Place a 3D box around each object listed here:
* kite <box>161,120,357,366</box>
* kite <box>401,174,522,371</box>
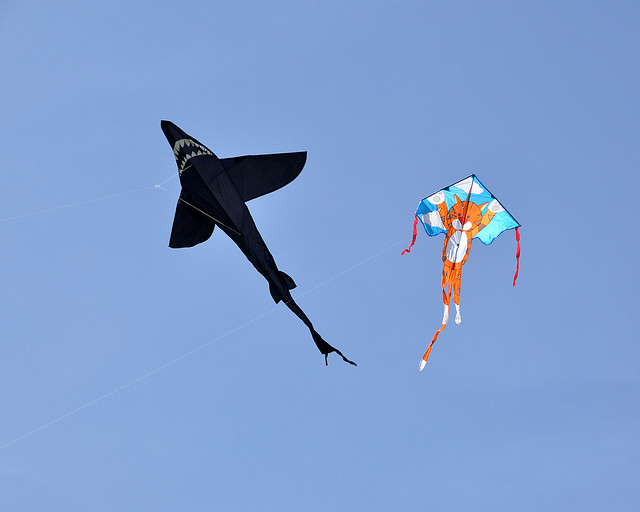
[{"bbox_3d":[-0.687,-0.050,12.470,1.743,3.082,0.541,-34,-14,-14],"label":"kite"},{"bbox_3d":[1.593,0.209,12.250,1.413,2.792,0.193,8,-35,6],"label":"kite"}]
